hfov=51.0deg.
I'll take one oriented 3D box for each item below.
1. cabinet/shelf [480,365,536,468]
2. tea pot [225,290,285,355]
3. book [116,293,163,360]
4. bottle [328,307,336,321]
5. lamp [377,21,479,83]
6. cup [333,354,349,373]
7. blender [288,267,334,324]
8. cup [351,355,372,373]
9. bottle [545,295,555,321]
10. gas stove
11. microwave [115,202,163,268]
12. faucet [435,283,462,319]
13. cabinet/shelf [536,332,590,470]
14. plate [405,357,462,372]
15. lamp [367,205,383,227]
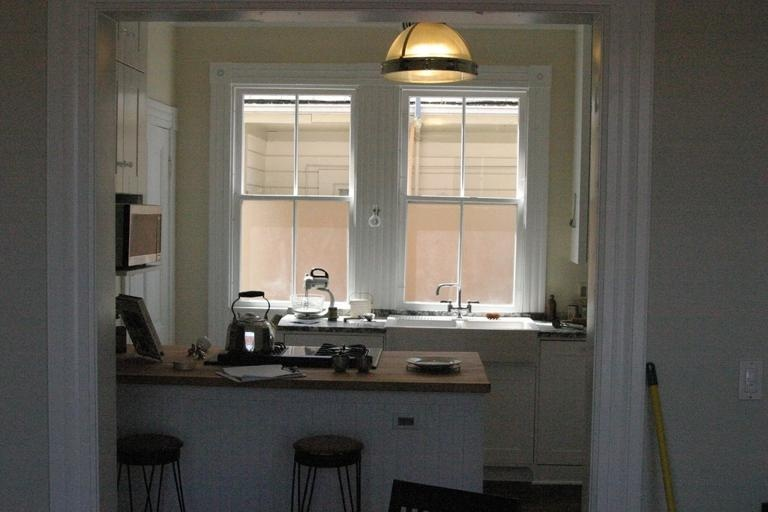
[{"bbox_3d":[0.901,1.137,5.760,0.356,0.737,0.107,0,-5,0],"label":"cabinet/shelf"},{"bbox_3d":[-0.792,0.391,4.819,0.322,0.340,0.343,2,4,0],"label":"tea pot"},{"bbox_3d":[-1.398,0.416,4.611,0.354,0.371,0.261,-4,-6,43],"label":"book"},{"bbox_3d":[-0.382,0.440,6.073,0.086,0.090,0.086,4,6,26],"label":"bottle"},{"bbox_3d":[0.263,-1.216,4.649,0.540,0.320,0.548,5,11,33],"label":"lamp"},{"bbox_3d":[-0.240,0.605,4.524,0.097,0.094,0.087,-1,3,-4],"label":"cup"},{"bbox_3d":[-0.546,0.286,6.161,0.377,0.352,0.249,2,1,-26],"label":"blender"},{"bbox_3d":[-0.123,0.612,4.576,0.101,0.069,0.099,0,-2,0],"label":"cup"},{"bbox_3d":[1.302,0.401,6.284,0.082,0.205,0.213,0,-4,11],"label":"bottle"},{"bbox_3d":[-0.508,0.593,4.796,0.979,0.120,0.462,0,-4,8],"label":"gas stove"},{"bbox_3d":[-1.495,-0.110,4.634,0.299,0.342,0.525,0,2,5],"label":"microwave"},{"bbox_3d":[0.506,0.342,6.352,0.203,0.274,0.207,0,-5,2],"label":"faucet"},{"bbox_3d":[1.252,1.053,5.751,0.366,0.927,0.150,0,-5,9],"label":"cabinet/shelf"},{"bbox_3d":[0.284,0.626,4.643,0.310,0.076,0.222,0,-4,6],"label":"plate"},{"bbox_3d":[-0.067,-0.322,6.350,0.120,0.169,0.041,-1,3,4],"label":"lamp"}]
